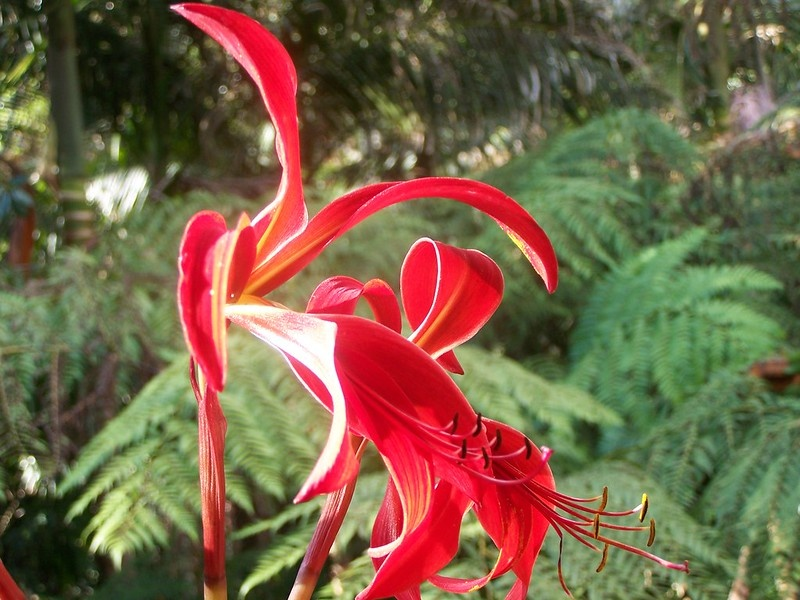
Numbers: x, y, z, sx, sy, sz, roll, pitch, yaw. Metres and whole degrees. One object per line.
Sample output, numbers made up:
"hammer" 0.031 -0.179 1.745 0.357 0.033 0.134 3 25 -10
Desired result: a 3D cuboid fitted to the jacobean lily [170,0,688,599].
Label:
"jacobean lily" 0.134 -0.145 1.969 0.877 1.305 1.192 0 -10 22
